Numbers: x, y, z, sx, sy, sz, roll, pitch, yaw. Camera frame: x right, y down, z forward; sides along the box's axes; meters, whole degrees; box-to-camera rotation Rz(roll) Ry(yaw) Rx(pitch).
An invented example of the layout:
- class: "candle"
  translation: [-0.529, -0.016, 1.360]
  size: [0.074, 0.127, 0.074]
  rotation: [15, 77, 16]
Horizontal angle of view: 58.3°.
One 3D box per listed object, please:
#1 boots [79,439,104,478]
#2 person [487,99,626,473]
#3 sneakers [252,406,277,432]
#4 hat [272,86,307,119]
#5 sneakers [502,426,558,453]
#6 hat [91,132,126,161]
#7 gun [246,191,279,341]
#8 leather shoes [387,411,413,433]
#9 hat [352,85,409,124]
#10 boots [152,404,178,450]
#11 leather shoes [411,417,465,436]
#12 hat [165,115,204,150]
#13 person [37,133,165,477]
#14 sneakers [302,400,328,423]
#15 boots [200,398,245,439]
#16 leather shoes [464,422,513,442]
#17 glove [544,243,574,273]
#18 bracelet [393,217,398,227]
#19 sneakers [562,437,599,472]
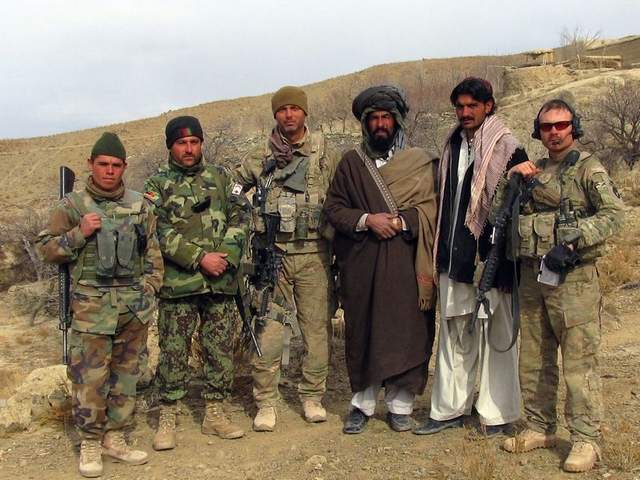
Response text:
- class: "boots"
  translation: [-1.796, 1.719, 4.504]
  size: [0.129, 0.161, 0.365]
  rotation: [0, 18, -20]
- class: "person"
  translation: [1.891, 0.307, 4.516]
  size: [0.795, 2.821, 0.774]
  rotation: [4, 11, 31]
- class: "sneakers"
  translation: [-0.513, 1.648, 5.311]
  size: [0.181, 0.176, 0.204]
  rotation: [0, 10, 8]
- class: "hat"
  translation: [-0.290, -1.320, 5.366]
  size: [0.324, 0.252, 0.380]
  rotation: [-2, 9, -4]
- class: "sneakers"
  translation: [1.688, 1.607, 4.701]
  size: [0.456, 0.198, 0.165]
  rotation: [-1, 1, -9]
- class: "hat"
  translation: [-1.710, -0.752, 4.610]
  size: [0.253, 0.201, 0.254]
  rotation: [0, 4, 13]
- class: "gun"
  translation: [-0.543, 0.242, 5.495]
  size: [0.498, 1.394, 0.250]
  rotation: [3, -7, -20]
- class: "leather shoes"
  translation: [0.720, 1.640, 5.166]
  size: [0.117, 0.095, 0.235]
  rotation: [0, -6, -14]
- class: "hat"
  translation: [0.553, -1.257, 5.138]
  size: [0.345, 0.206, 0.390]
  rotation: [1, -3, 4]
- class: "boots"
  translation: [-1.347, 1.612, 5.032]
  size: [0.177, 0.328, 0.491]
  rotation: [-1, 0, -5]
- class: "leather shoes"
  translation: [1.069, 1.613, 5.149]
  size: [0.492, 0.184, 0.165]
  rotation: [-1, -1, -13]
- class: "hat"
  translation: [-1.220, -0.976, 5.054]
  size: [0.300, 0.237, 0.308]
  rotation: [-11, 7, 19]
- class: "person"
  translation: [-1.697, 0.484, 4.580]
  size: [0.894, 2.664, 0.516]
  rotation: [-7, 11, -28]
- class: "sneakers"
  translation: [-0.067, 1.608, 5.470]
  size: [0.277, 0.202, 0.246]
  rotation: [0, 10, 12]
- class: "boots"
  translation: [-0.884, 1.604, 5.188]
  size: [0.452, 0.320, 0.172]
  rotation: [-1, -3, 36]
- class: "leather shoes"
  translation: [1.473, 1.648, 4.932]
  size: [0.464, 0.201, 0.159]
  rotation: [2, -3, -9]
- class: "glove"
  translation: [1.795, 0.135, 4.306]
  size: [0.227, 0.228, 0.095]
  rotation: [1, 10, 16]
- class: "bracelet"
  translation: [0.667, -0.167, 5.057]
  size: [0.035, 0.068, 0.016]
  rotation: [2, -22, 2]
- class: "sneakers"
  translation: [1.988, 1.639, 4.385]
  size: [0.161, 0.157, 0.342]
  rotation: [-4, -4, 34]
